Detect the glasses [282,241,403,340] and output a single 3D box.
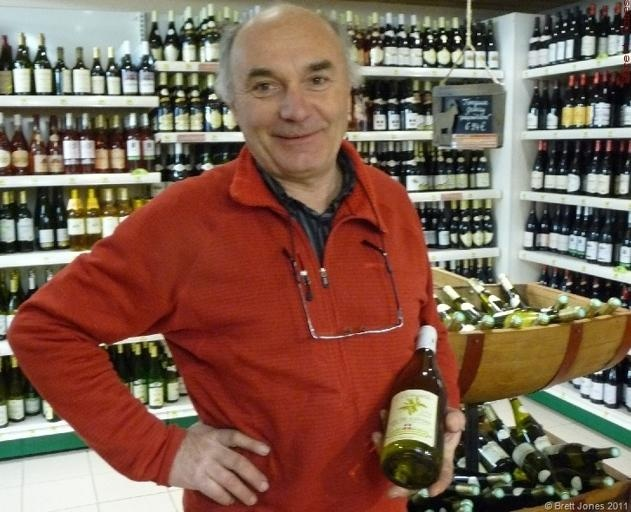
[{"bbox_3d":[0.039,0.084,1.189,0.284,0.199,0.067,-12,-8,-21],"label":"glasses"}]
